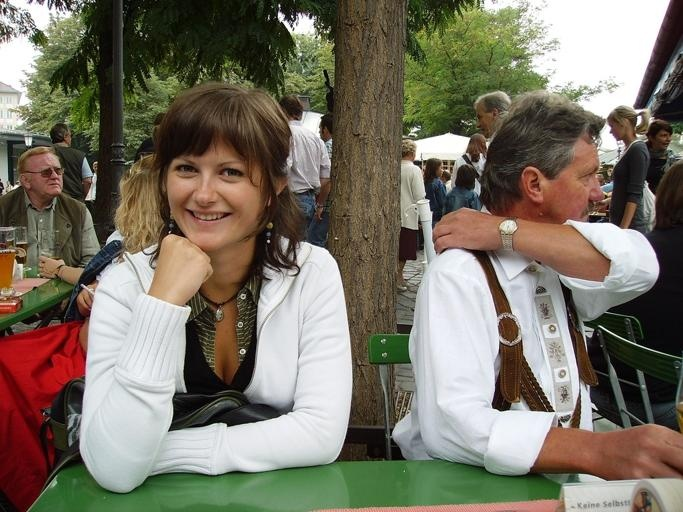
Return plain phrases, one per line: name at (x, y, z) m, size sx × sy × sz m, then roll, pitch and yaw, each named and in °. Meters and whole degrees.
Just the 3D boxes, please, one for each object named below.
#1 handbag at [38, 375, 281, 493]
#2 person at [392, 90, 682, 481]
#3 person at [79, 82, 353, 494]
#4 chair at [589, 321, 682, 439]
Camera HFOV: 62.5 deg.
handbag at (-0.677, 0.531, 1.941) m, size 0.558 × 0.250 × 0.447 m, roll -3°, pitch 19°, yaw -8°
person at (0.716, 0.141, 2.466) m, size 1.261 × 1.572 × 0.941 m, roll -5°, pitch -4°, yaw 40°
person at (-0.480, 0.083, 2.045) m, size 0.943 × 1.433 × 0.872 m, roll 1°, pitch -7°, yaw -35°
chair at (1.448, 0.593, 2.751) m, size 0.342 × 0.545 × 0.360 m, roll -21°, pitch 29°, yaw -26°
